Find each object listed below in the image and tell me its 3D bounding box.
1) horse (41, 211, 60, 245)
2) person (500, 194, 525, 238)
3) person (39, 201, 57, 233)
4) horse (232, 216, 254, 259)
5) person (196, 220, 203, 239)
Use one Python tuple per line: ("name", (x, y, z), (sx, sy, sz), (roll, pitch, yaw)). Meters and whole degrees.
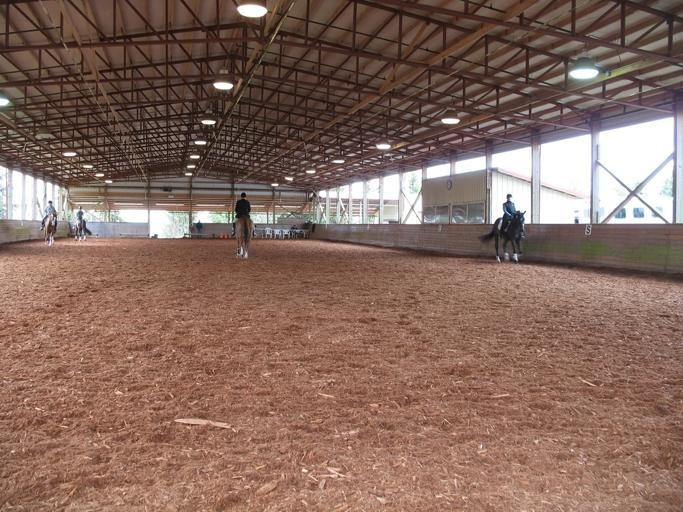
("horse", (-13.946, -1.213, 20.914), (0.562, 1.504, 2.317), (6, -14, -36))
("person", (6.194, -1.616, 15.937), (0.643, 1.369, 2.283), (5, 15, 20))
("person", (-13.648, -1.798, 20.365), (0.539, 1.430, 0.851), (-12, 18, -40))
("horse", (-3.315, -0.682, 14.826), (0.509, 1.539, 2.033), (0, -8, -16))
("person", (-13.094, -2.411, 40.097), (0.639, 1.521, 1.459), (-4, 14, -17))
